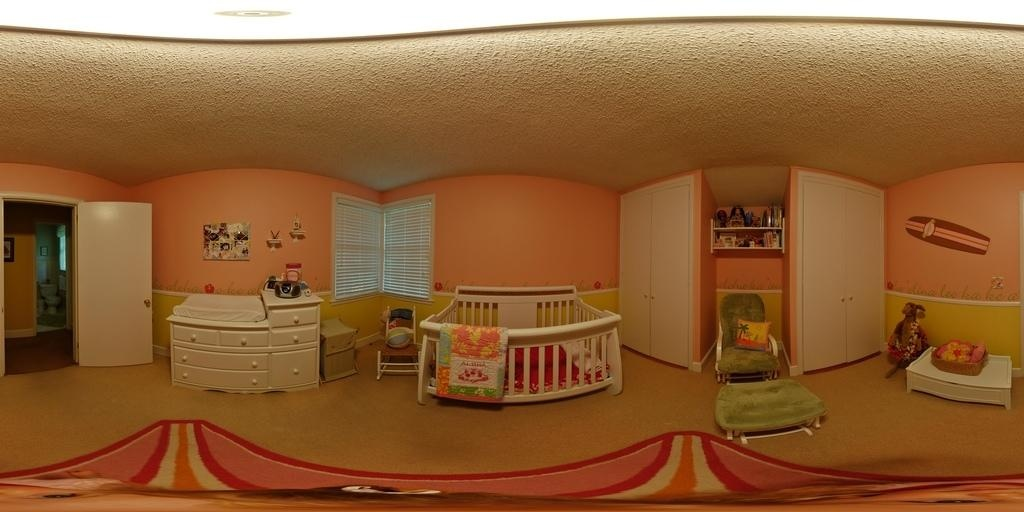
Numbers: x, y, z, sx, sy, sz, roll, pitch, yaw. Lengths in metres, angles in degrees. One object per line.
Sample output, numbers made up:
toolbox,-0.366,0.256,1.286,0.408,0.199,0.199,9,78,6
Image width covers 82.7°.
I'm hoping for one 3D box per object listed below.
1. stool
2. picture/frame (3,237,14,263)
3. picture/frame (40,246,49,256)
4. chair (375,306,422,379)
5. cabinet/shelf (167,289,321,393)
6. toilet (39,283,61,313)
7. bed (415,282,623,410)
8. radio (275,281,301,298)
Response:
stool,2.532,1.489,5.632,0.876,0.189,0.581,-1,37,12
picture/frame,-7.120,-0.100,8.219,0.140,0.352,0.053,1,3,0
picture/frame,-7.481,-0.097,9.272,0.139,0.143,0.054,-1,3,-32
chair,-1.355,1.018,6.915,0.661,0.666,0.685,-5,17,-17
cabinet/shelf,-2.811,0.991,6.890,2.055,1.015,0.997,-1,1,15
toilet,-7.296,0.639,9.170,0.275,0.434,0.322,-1,4,-35
bed,0.036,0.956,6.768,2.226,1.126,1.385,0,3,-9
radio,-2.556,0.381,6.624,0.242,0.083,0.303,0,1,-27
